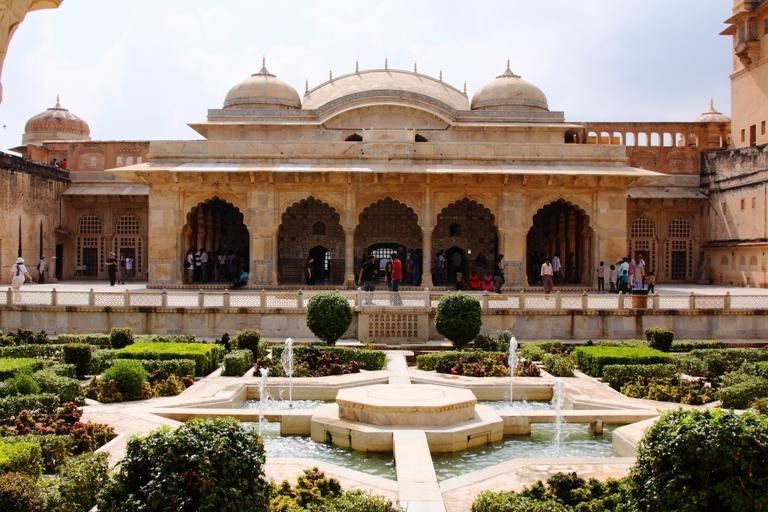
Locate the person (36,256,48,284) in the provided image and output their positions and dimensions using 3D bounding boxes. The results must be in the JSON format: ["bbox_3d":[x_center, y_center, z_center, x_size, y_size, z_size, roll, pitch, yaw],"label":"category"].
[{"bbox_3d":[-13.205,0.524,39.645,0.400,1.101,1.388,1,-4,-17],"label":"person"}]
